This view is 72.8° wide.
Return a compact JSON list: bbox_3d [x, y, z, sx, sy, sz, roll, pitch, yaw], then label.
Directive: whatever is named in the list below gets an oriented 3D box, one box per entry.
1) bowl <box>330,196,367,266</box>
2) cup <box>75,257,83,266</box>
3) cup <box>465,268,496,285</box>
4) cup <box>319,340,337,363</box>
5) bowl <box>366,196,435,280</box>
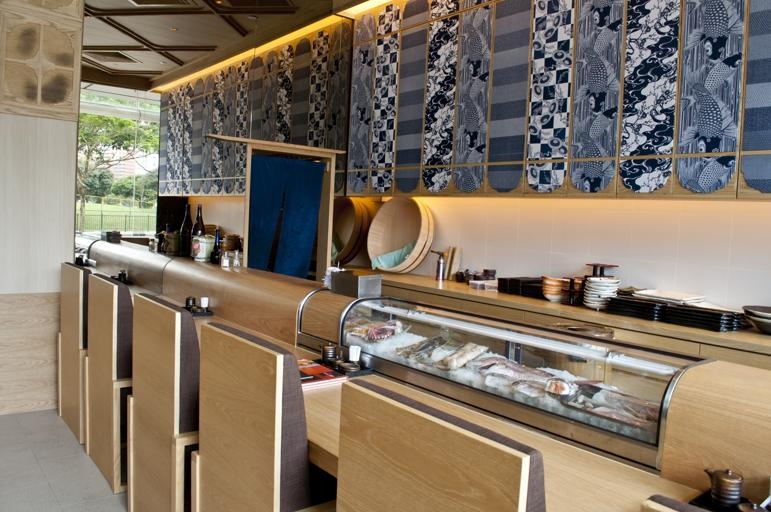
[{"bbox_3d":[-0.478,-0.273,5.780,0.308,0.768,0.521,-2,10,-43],"label":"bowl"},{"bbox_3d":[-2.305,0.042,3.924,0.075,0.063,0.065,3,-2,29],"label":"cup"},{"bbox_3d":[0.866,0.183,4.746,0.215,0.078,0.150,0,-1,38],"label":"cup"},{"bbox_3d":[-0.266,0.459,2.520,0.101,0.079,0.070,1,-1,-3],"label":"cup"},{"bbox_3d":[0.135,-0.228,5.383,0.776,0.740,0.296,32,18,38],"label":"bowl"}]
